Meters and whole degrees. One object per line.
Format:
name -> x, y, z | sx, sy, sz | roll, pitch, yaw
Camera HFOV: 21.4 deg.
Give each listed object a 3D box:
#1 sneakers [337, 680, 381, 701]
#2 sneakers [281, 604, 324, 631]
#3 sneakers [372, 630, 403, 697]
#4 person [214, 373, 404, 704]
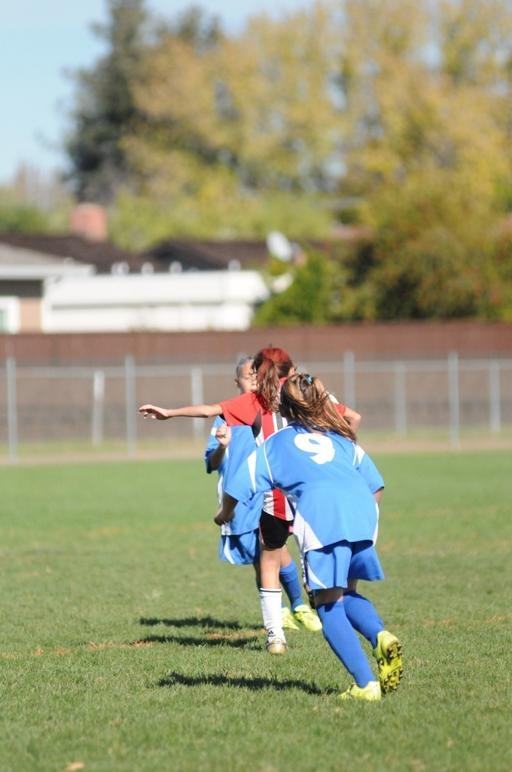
sneakers -> 0.508, 1.501, 6.666 | 0.156, 0.058, 0.104 | 1, -8, 13
sneakers -> 0.261, 1.418, 8.191 | 0.101, 0.126, 0.280 | -1, -11, -32
sneakers -> 0.642, 1.353, 6.561 | 0.108, 0.323, 0.156 | -11, 22, -15
person -> 0.344, 0.744, 6.701 | 0.820, 1.597, 0.504 | 0, 3, 28
